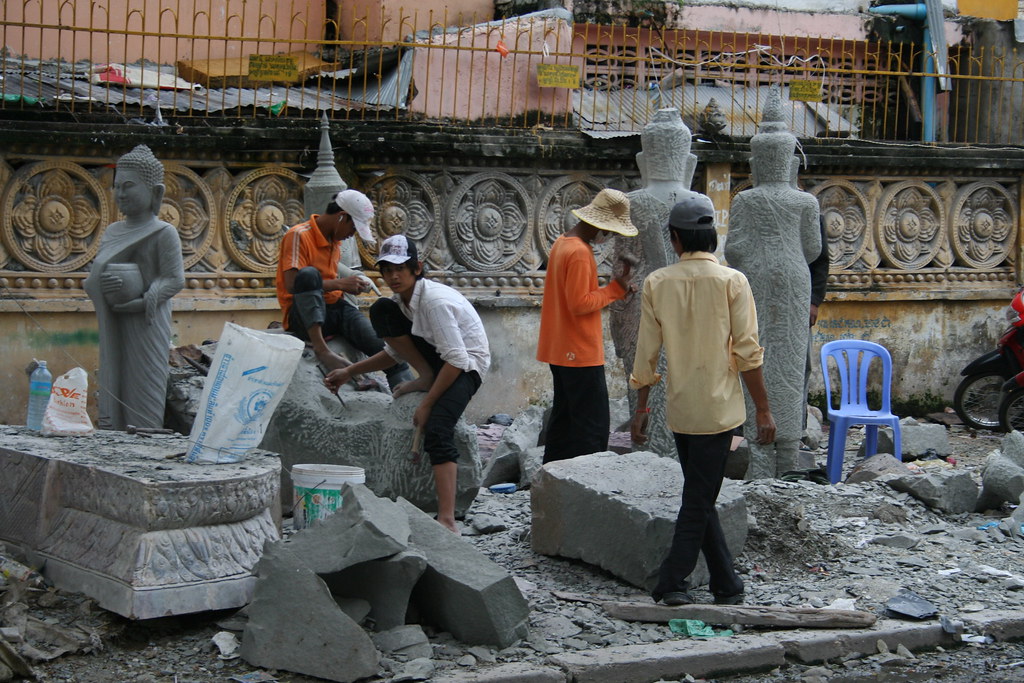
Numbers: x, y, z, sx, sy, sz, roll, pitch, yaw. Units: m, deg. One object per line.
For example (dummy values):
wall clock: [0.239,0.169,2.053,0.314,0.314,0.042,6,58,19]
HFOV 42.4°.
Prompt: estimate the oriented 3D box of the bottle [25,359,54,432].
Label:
bottle: [-3.292,0.384,9.212,0.167,0.491,0.370,-3,5,-28]

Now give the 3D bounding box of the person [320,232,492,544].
person: [-0.651,0.294,9.468,0.934,2.064,0.599,1,5,12]

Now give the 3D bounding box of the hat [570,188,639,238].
hat: [0.752,-0.985,10.124,0.406,0.349,0.467,1,4,21]

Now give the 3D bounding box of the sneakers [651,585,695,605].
sneakers: [1.072,1.690,8.769,0.102,0.114,0.254,2,-6,-44]

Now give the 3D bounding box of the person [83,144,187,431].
person: [-2.825,-0.404,9.887,0.705,2.103,0.378,-1,5,-7]

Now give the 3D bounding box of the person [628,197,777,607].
person: [1.263,0.394,8.784,0.921,2.669,0.405,0,5,3]

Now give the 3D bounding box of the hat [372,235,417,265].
hat: [-0.816,-0.633,9.265,0.249,0.204,0.283,-2,5,-27]

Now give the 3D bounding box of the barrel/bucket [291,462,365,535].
barrel/bucket: [-1.285,1.111,9.281,0.465,0.349,0.464,1,-2,0]

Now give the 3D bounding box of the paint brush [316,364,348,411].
paint brush: [-1.367,0.362,10.066,0.408,0.109,0.073,53,-1,39]
